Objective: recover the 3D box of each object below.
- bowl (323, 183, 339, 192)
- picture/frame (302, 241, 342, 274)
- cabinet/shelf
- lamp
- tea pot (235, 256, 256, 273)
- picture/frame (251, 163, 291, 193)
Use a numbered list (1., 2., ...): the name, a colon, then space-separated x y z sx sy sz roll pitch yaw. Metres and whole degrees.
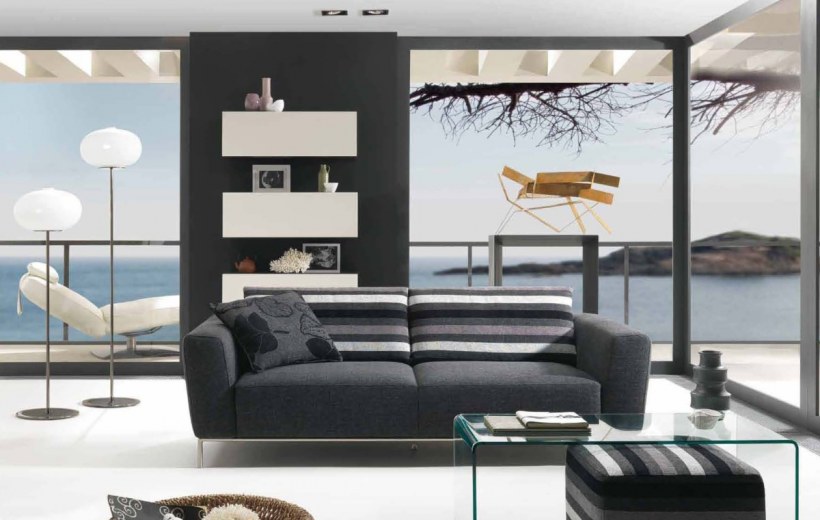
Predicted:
1. bowl: -0.777 -0.721 8.502 0.112 0.066 0.102 -1 2 1
2. picture/frame: -0.889 -0.018 8.539 0.384 0.265 0.026 1 -5 -2
3. cabinet/shelf: -1.172 -0.549 8.361 1.323 1.825 0.309 -2 3 3
4. lamp: -3.078 0.045 8.144 1.122 2.558 1.763 -3 3 -16
5. tea pot: -1.621 0.047 8.503 0.203 0.118 0.138 0 3 -2
6. picture/frame: -1.368 -0.807 8.485 0.350 0.218 0.022 0 -3 -4
